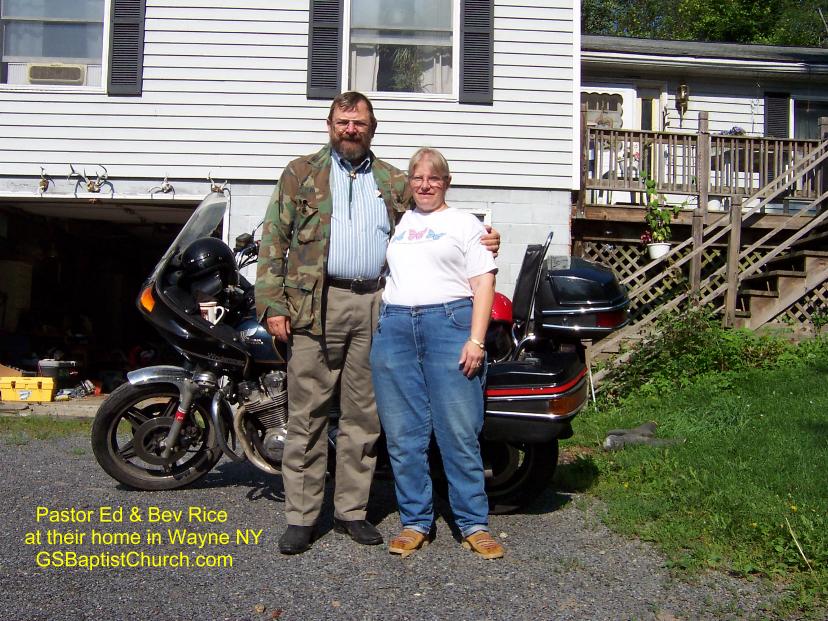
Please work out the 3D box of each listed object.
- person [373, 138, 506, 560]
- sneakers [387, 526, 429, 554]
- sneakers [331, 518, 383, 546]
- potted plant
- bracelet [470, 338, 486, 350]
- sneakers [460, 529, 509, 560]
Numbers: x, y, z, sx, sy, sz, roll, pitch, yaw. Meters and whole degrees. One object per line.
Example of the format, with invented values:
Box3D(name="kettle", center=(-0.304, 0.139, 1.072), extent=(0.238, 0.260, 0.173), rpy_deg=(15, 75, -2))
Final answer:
Box3D(name="person", center=(0.114, 0.405, 4.576), extent=(0.734, 1.940, 0.762), rpy_deg=(0, 14, 3))
Box3D(name="sneakers", center=(-0.031, 1.336, 4.531), extent=(0.103, 0.092, 0.236), rpy_deg=(-6, -13, 34))
Box3D(name="sneakers", center=(-0.341, 1.297, 4.685), extent=(0.317, 0.120, 0.118), rpy_deg=(2, 6, 35))
Box3D(name="potted plant", center=(3.169, -1.188, 10.229), extent=(0.490, 1.083, 0.745), rpy_deg=(4, 14, 18))
Box3D(name="bracelet", center=(0.360, 0.179, 4.478), extent=(0.066, 0.027, 0.062), rpy_deg=(37, -9, 39))
Box3D(name="sneakers", center=(0.403, 1.334, 4.488), extent=(0.111, 0.096, 0.247), rpy_deg=(-3, -1, -38))
